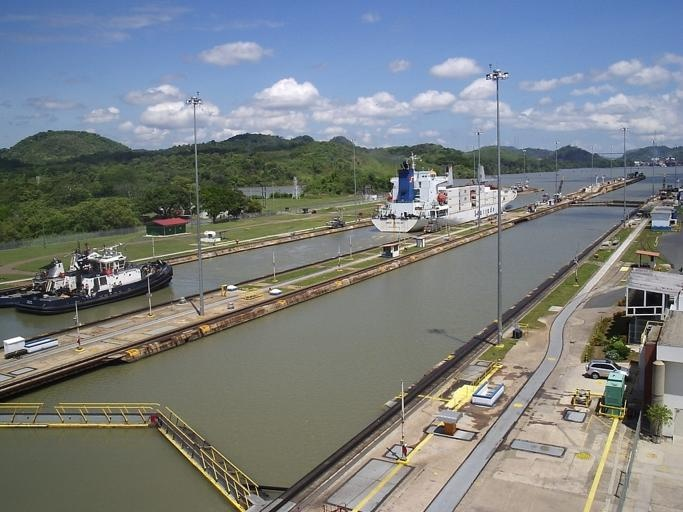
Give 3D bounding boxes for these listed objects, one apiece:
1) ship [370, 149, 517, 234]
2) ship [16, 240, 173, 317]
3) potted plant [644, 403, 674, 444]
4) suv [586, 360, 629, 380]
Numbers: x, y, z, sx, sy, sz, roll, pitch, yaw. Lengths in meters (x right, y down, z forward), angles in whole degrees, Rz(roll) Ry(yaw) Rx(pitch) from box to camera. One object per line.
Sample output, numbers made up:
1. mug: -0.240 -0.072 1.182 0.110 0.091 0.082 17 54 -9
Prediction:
1. ship: 20.707 -12.501 108.881 11.280 12.310 40.713 12 18 41
2. ship: -24.763 2.076 54.695 13.396 5.329 6.137 -11 16 -32
3. potted plant: 15.738 8.196 27.798 1.464 1.373 1.150 13 -7 -15
4. suv: 16.044 6.832 33.473 2.235 0.696 1.068 -2 7 13
